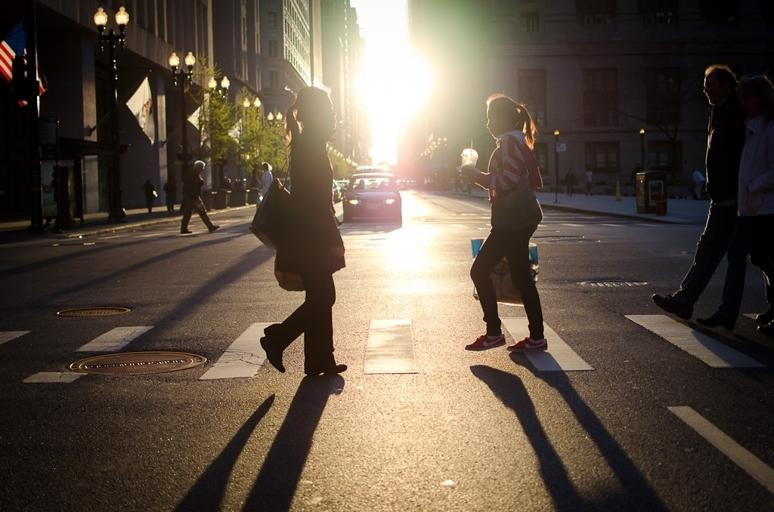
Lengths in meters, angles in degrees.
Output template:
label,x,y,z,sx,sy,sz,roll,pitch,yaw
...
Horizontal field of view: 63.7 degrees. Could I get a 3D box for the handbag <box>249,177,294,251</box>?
label,x,y,z,sx,sy,sz,roll,pitch,yaw
handbag,-1.094,-0.405,5.846,0.380,0.680,0.311,-3,10,-11

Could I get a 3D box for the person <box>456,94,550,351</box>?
label,x,y,z,sx,sy,sz,roll,pitch,yaw
person,1.338,-0.359,6.855,0.888,2.838,1.017,3,10,22

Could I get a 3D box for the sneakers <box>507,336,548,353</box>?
label,x,y,z,sx,sy,sz,roll,pitch,yaw
sneakers,1.546,0.950,6.846,0.428,0.204,0.171,-1,-2,7

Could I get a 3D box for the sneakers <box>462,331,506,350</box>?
label,x,y,z,sx,sy,sz,roll,pitch,yaw
sneakers,1.076,0.928,6.930,0.462,0.222,0.181,-4,-3,-2

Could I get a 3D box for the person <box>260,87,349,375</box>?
label,x,y,z,sx,sy,sz,roll,pitch,yaw
person,-0.833,-0.227,6.043,0.803,2.785,0.595,-2,9,-5
